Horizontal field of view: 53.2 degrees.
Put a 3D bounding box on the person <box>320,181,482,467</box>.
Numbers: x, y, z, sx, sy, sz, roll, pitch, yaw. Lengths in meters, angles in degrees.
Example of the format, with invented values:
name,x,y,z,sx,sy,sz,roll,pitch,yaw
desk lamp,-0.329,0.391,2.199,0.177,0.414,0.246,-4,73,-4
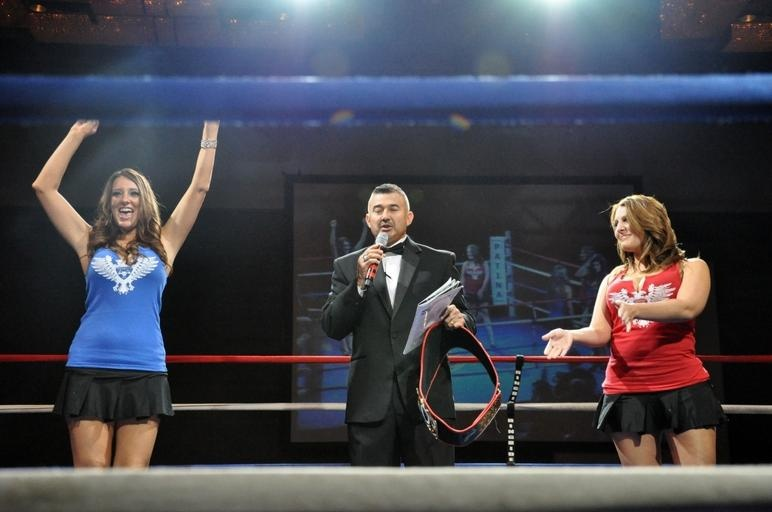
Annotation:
name,x,y,z,sx,sy,sz,roll,pitch,yaw
person,0.058,0.358,4.264,0.809,1.560,0.322,1,-8,-5

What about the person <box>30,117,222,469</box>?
name,x,y,z,sx,sy,sz,roll,pitch,yaw
person,-1.376,0.197,4.256,0.752,1.893,0.310,2,-8,-13

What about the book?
name,x,y,z,sx,sy,sz,roll,pitch,yaw
book,0.247,0.332,4.170,0.108,0.386,0.412,42,38,22

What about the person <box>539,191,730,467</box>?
name,x,y,z,sx,sy,sz,roll,pitch,yaw
person,1.417,0.392,4.233,0.629,1.523,0.600,8,-11,-43

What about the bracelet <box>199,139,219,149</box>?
name,x,y,z,sx,sy,sz,roll,pitch,yaw
bracelet,-1.006,-0.622,4.390,0.078,0.041,0.079,-1,4,-15
